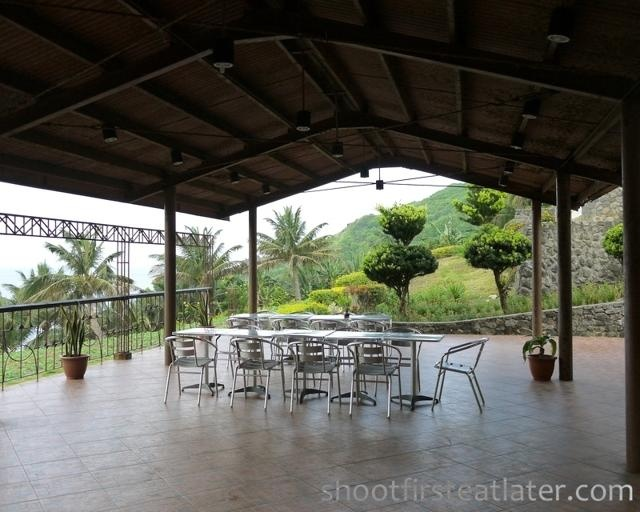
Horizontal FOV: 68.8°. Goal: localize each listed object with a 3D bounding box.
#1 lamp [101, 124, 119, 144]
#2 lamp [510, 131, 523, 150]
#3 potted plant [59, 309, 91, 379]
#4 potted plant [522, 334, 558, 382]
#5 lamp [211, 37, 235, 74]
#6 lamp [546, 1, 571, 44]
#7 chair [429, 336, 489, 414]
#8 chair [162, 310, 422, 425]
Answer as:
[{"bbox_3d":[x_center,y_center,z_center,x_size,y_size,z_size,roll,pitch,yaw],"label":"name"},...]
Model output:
[{"bbox_3d":[-2.914,-1.673,6.486,0.290,0.232,0.252,-3,-1,-5],"label":"lamp"},{"bbox_3d":[2.919,-1.713,6.917,0.183,0.246,0.275,-1,-1,22],"label":"lamp"},{"bbox_3d":[-4.189,1.480,7.975,0.414,1.192,0.776,0,-1,-28],"label":"potted plant"},{"bbox_3d":[3.540,1.640,7.546,0.680,0.573,0.659,-5,-8,33],"label":"potted plant"},{"bbox_3d":[-0.917,-1.897,4.407,0.183,0.349,0.261,0,-1,-14],"label":"lamp"},{"bbox_3d":[1.953,-1.845,3.753,0.161,0.279,0.266,-2,-2,44],"label":"lamp"},{"bbox_3d":[1.940,1.636,6.532,0.862,0.791,0.801,-4,-12,37],"label":"chair"},{"bbox_3d":[-0.138,1.599,6.892,2.873,1.036,3.103,0,-2,-21],"label":"chair"}]
